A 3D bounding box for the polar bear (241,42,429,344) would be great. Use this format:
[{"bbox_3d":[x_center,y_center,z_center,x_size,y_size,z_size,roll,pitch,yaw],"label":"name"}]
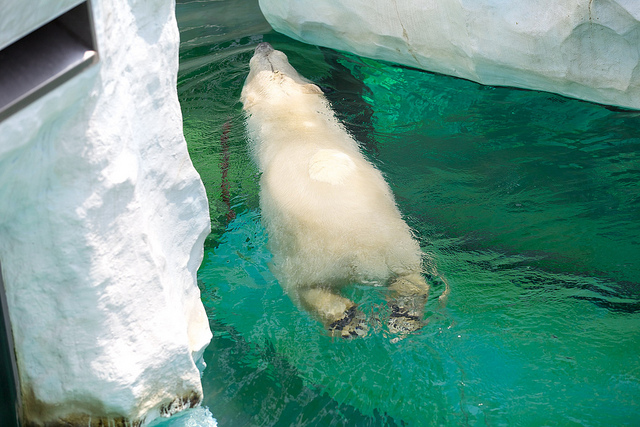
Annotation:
[{"bbox_3d":[0.017,-0.180,4.793,2.008,1.620,1.704,-3,36,-13],"label":"polar bear"}]
